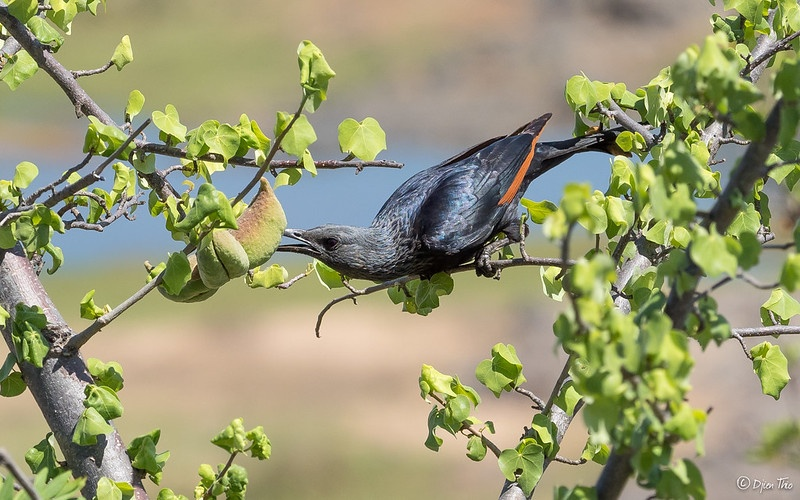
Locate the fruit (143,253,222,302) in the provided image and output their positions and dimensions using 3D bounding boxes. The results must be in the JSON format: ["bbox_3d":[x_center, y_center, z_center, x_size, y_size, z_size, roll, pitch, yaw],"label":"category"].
[{"bbox_3d":[-0.991,0.072,5.094,0.220,0.181,0.109,3,-42,25],"label":"fruit"}]
